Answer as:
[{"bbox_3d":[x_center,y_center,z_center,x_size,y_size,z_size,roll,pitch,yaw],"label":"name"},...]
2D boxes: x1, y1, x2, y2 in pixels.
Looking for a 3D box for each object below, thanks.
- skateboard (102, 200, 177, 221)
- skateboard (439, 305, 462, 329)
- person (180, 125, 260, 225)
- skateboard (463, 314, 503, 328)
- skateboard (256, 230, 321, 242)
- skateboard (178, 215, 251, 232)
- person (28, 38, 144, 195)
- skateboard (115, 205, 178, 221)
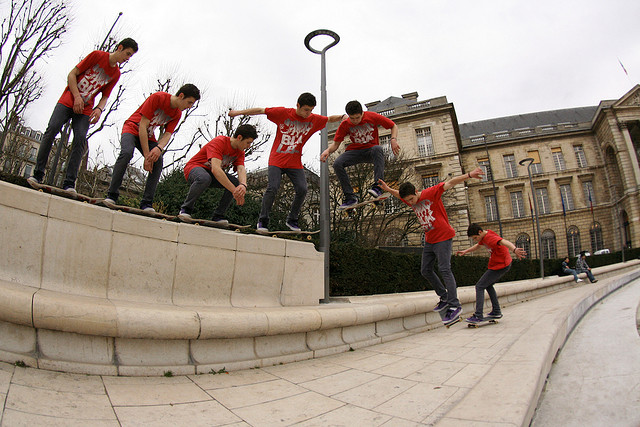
[{"bbox_3d":[-3.201,-0.066,7.046,1.066,0.143,0.247,16,13,-39],"label":"skateboard"},{"bbox_3d":[2.498,1.939,7.621,0.355,0.413,0.863,-2,-1,21],"label":"skateboard"},{"bbox_3d":[-1.839,-0.716,7.232,1.248,1.767,1.161,7,-6,-17],"label":"person"},{"bbox_3d":[3.137,1.995,7.498,0.986,0.168,0.239,0,0,-21],"label":"skateboard"},{"bbox_3d":[-0.664,0.450,8.205,1.445,0.251,0.335,2,-6,-18],"label":"skateboard"},{"bbox_3d":[-2.070,0.178,7.721,1.001,0.148,0.231,9,-21,-25],"label":"skateboard"},{"bbox_3d":[-3.800,-1.493,6.373,1.444,2.393,0.842,-1,-1,-26],"label":"person"},{"bbox_3d":[-3.037,-0.020,6.936,0.848,0.234,0.119,13,15,-5],"label":"skateboard"}]
